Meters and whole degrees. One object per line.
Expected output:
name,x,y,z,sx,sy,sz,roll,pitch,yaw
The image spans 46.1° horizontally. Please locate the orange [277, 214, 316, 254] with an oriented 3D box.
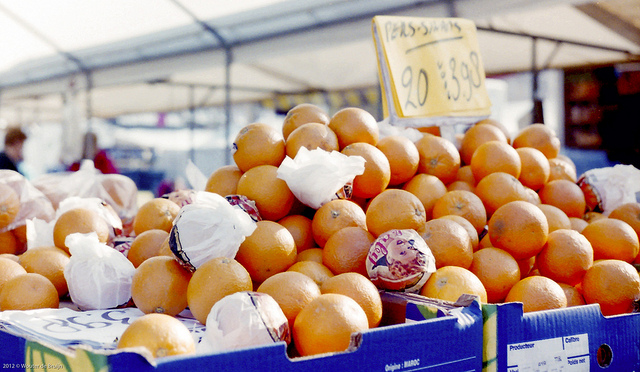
orange,-0.211,0.446,7.392,0.317,0.429,0.326,-1,-12,-30
